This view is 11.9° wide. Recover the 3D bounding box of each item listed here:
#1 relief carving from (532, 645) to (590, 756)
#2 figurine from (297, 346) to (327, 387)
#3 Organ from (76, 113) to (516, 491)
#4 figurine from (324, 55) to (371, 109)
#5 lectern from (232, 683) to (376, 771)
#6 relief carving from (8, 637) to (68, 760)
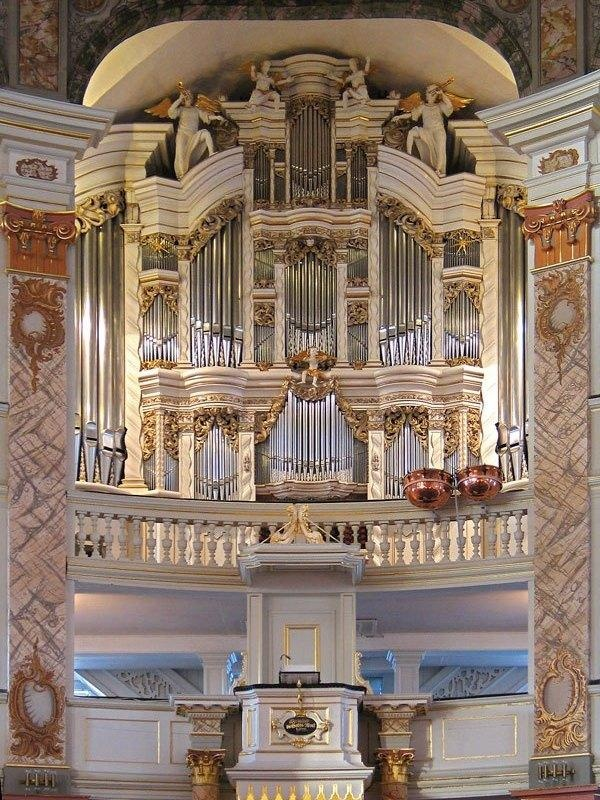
[{"bbox_3d":[2.193,2.600,24.702,0.543,0.912,0.065,-18,-26,38],"label":"relief carving"},{"bbox_3d":[0.085,-0.345,28.781,0.346,0.499,0.163,0,-20,1],"label":"figurine"},{"bbox_3d":[-0.073,-0.857,28.853,3.431,3.605,0.746,-1,-10,3],"label":"Organ"},{"bbox_3d":[0.437,-3.312,29.493,0.436,0.588,0.219,-6,-18,20],"label":"figurine"},{"bbox_3d":[-0.026,2.811,24.617,1.083,0.790,0.396,-1,-21,-1],"label":"lectern"},{"bbox_3d":[-2.289,2.617,24.862,0.497,1.044,0.049,8,-22,-22],"label":"relief carving"}]
